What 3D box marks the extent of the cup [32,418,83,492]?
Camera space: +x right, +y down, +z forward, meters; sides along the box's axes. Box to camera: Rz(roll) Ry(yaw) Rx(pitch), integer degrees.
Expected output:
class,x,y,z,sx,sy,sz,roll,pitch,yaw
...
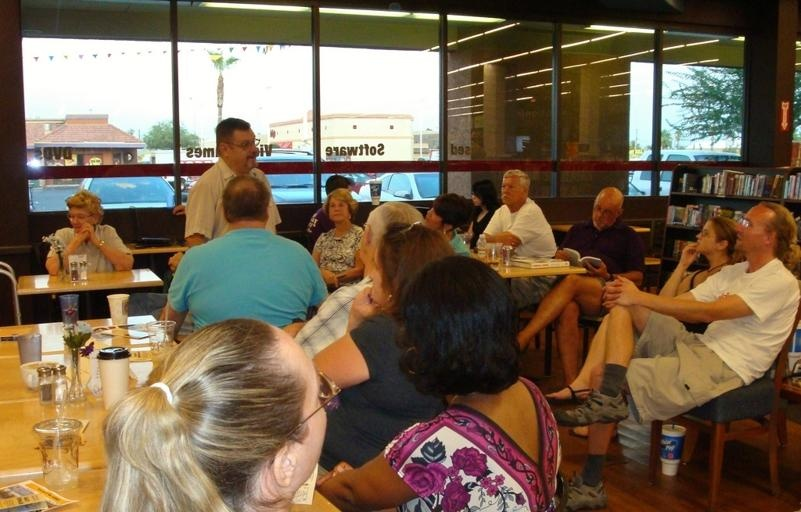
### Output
class,x,y,z,sx,sy,sz,roll,pitch,yaw
cup,-1.191,0.711,2.262,0.218,0.204,0.210,-1,-1,0

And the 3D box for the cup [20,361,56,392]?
class,x,y,z,sx,sy,sz,roll,pitch,yaw
cup,-1.686,0.541,2.891,0.155,0.091,0.152,1,5,0

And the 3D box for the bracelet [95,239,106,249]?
class,x,y,z,sx,sy,sz,roll,pitch,yaw
bracelet,-2.715,-0.108,5.577,0.080,0.073,0.020,7,-26,-36

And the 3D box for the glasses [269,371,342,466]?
class,x,y,z,sx,sy,sz,roll,pitch,yaw
glasses,-0.231,0.456,1.692,0.065,0.209,0.203,32,-2,-9

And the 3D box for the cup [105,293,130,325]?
class,x,y,z,sx,sy,sz,roll,pitch,yaw
cup,-1.720,0.324,3.692,0.174,0.184,0.168,0,-4,0

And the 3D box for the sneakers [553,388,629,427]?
class,x,y,z,sx,sy,sz,roll,pitch,yaw
sneakers,1.110,0.873,3.543,0.556,0.225,0.196,0,-6,-13

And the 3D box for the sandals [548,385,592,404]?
class,x,y,z,sx,sy,sz,roll,pitch,yaw
sandals,1.128,0.889,3.935,0.356,0.134,0.139,4,-6,-21

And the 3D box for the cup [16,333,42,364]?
class,x,y,z,sx,sy,sz,roll,pitch,yaw
cup,-1.796,0.436,2.998,0.151,0.155,0.147,2,0,0
